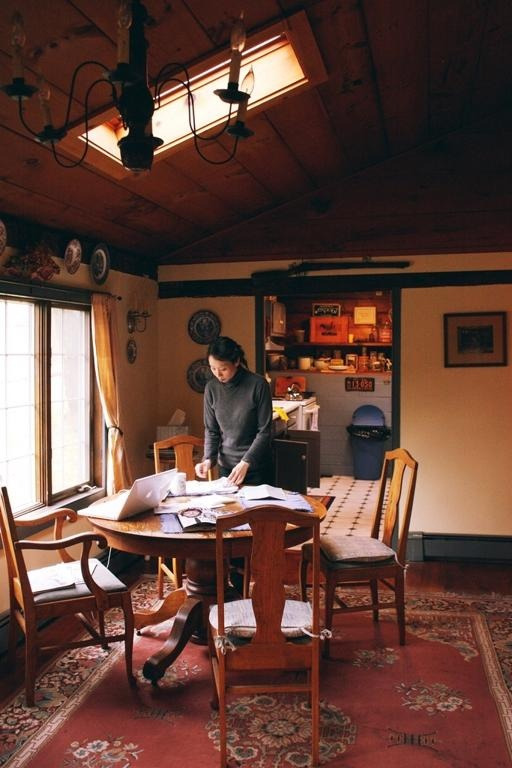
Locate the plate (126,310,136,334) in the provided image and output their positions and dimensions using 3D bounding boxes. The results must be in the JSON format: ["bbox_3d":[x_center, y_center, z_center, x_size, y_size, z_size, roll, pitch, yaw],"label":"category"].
[{"bbox_3d":[-0.899,-0.462,4.428,0.033,0.138,0.107,5,2,8],"label":"plate"}]

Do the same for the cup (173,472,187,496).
[{"bbox_3d":[-0.367,0.477,2.940,0.066,0.097,0.112,0,-4,-1],"label":"cup"}]

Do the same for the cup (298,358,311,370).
[{"bbox_3d":[0.607,-0.263,7.549,0.160,0.142,0.121,2,-5,-2],"label":"cup"}]

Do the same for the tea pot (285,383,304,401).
[{"bbox_3d":[0.436,0.089,6.895,0.156,0.086,0.207,1,21,-3],"label":"tea pot"}]

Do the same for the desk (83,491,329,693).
[{"bbox_3d":[-0.241,0.886,2.885,1.074,0.655,1.010,0,2,-23],"label":"desk"}]

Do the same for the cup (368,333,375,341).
[{"bbox_3d":[1.471,-0.614,7.755,0.084,0.134,0.191,0,5,7],"label":"cup"}]

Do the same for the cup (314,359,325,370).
[{"bbox_3d":[0.810,-0.253,7.610,0.161,0.151,0.222,0,4,5],"label":"cup"}]

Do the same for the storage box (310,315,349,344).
[{"bbox_3d":[0.911,-0.687,7.488,0.390,0.255,0.379,0,1,-1],"label":"storage box"}]

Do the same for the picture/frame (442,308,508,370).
[{"bbox_3d":[1.569,-0.336,4.327,0.447,0.438,0.031,0,1,12],"label":"picture/frame"}]

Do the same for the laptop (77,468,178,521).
[{"bbox_3d":[-0.575,0.490,2.666,0.293,0.195,0.326,3,4,20],"label":"laptop"}]

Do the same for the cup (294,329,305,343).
[{"bbox_3d":[0.559,-0.629,7.869,0.147,0.185,0.275,0,4,3],"label":"cup"}]

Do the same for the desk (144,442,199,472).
[{"bbox_3d":[-0.576,0.499,4.388,0.278,0.316,0.288,-4,4,-31],"label":"desk"}]

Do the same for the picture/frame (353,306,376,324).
[{"bbox_3d":[1.376,-0.877,7.767,0.375,0.202,0.270,-6,12,10],"label":"picture/frame"}]

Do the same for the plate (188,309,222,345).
[{"bbox_3d":[-0.404,-0.463,4.838,0.269,0.267,0.060,22,14,15],"label":"plate"}]

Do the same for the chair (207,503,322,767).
[{"bbox_3d":[0.021,0.838,2.245,0.450,0.974,0.677,0,5,4],"label":"chair"}]

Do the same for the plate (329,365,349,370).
[{"bbox_3d":[1.024,-0.214,7.581,0.222,0.061,0.144,0,4,2],"label":"plate"}]

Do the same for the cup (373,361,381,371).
[{"bbox_3d":[1.477,-0.228,7.472,0.110,0.153,0.108,-1,10,0],"label":"cup"}]

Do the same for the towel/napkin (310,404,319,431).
[{"bbox_3d":[0.643,0.357,6.749,0.055,0.238,0.331,1,1,18],"label":"towel/napkin"}]

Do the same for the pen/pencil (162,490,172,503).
[{"bbox_3d":[-0.419,0.520,2.905,0.020,0.086,0.023,15,30,-25],"label":"pen/pencil"}]
